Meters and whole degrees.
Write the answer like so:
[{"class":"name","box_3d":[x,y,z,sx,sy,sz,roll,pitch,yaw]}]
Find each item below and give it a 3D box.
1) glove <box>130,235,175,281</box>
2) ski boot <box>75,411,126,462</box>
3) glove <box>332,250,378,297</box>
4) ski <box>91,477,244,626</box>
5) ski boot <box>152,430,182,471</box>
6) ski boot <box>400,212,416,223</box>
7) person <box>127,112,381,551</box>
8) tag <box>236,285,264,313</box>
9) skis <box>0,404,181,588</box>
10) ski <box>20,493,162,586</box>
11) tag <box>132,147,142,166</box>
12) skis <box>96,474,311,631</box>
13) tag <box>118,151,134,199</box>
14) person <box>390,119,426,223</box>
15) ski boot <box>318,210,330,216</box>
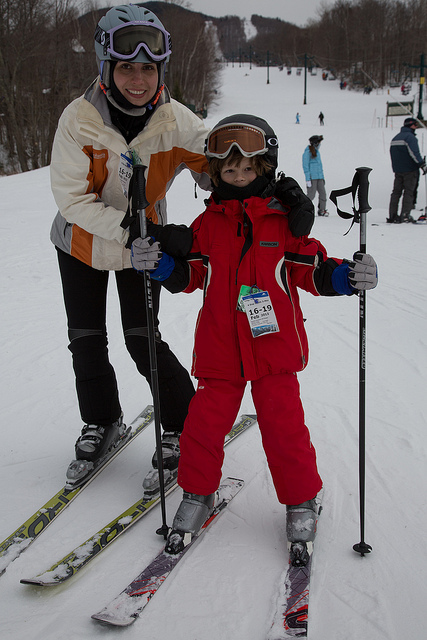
[{"class":"glove","box_3d":[-0.237,-0.242,2.111,0.155,0.167,0.170,-10,12,-43]},{"class":"ski boot","box_3d":[-0.548,0.527,2.692,0.159,0.164,0.441,8,14,11]},{"class":"glove","box_3d":[0.500,-0.173,1.979,0.181,0.147,0.153,-1,12,10]},{"class":"ski","box_3d":[-0.076,0.748,2.185,0.147,0.081,1.308,2,11,21]},{"class":"ski boot","box_3d":[-0.197,0.594,2.575,0.098,0.118,0.254,-13,5,13]},{"class":"ski boot","box_3d":[3.115,-1.655,8.871,0.232,0.162,0.119,1,14,13]},{"class":"person","box_3d":[0.133,0.025,2.092,0.899,1.578,0.599,1,14,12]},{"class":"tag","box_3d":[0.140,-0.082,2.066,0.093,0.112,0.012,7,-3,10]},{"class":"skis","box_3d":[-0.532,0.738,2.162,0.268,0.050,0.890,22,27,18]},{"class":"ski","box_3d":[-0.464,0.835,2.086,0.092,0.062,0.831,5,11,23]},{"class":"tag","box_3d":[-0.307,-0.644,2.196,0.029,0.050,0.095,-4,14,-7]},{"class":"skis","box_3d":[-0.028,0.834,1.965,0.164,0.060,1.155,9,15,23]},{"class":"tag","box_3d":[-0.352,-0.591,2.212,0.041,0.272,0.153,-4,18,-23]},{"class":"person","box_3d":[3.087,-2.379,8.817,0.520,1.596,0.598,0,14,10]},{"class":"ski boot","box_3d":[2.015,-1.974,10.144,0.157,0.125,0.302,-1,9,2]}]
